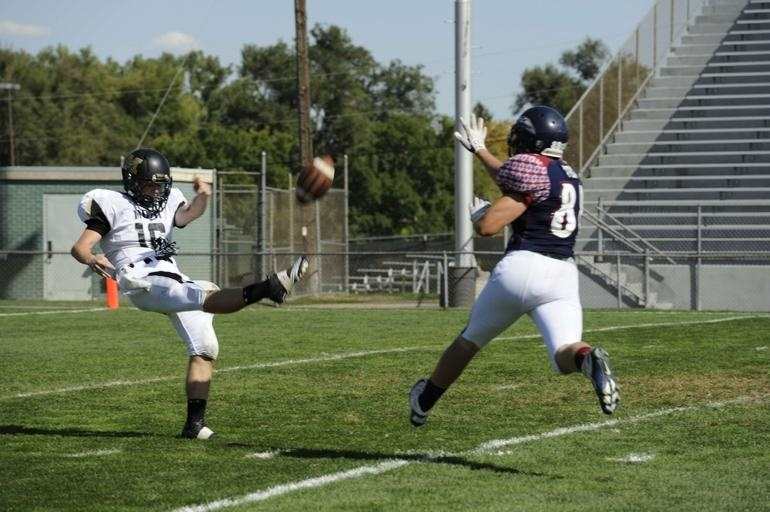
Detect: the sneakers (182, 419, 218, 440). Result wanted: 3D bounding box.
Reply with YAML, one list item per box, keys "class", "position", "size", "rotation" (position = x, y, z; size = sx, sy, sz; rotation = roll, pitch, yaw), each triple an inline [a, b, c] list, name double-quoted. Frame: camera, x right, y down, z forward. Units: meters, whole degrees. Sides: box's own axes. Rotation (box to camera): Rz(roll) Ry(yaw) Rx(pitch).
- class: "sneakers"
  position: [-2.815, 2.641, 18.616]
  size: [0.537, 0.198, 0.244]
  rotation: [-2, 0, 25]

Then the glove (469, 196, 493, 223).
- class: "glove"
  position: [1.400, -0.697, 18.000]
  size: [0.380, 0.349, 0.146]
  rotation: [17, -18, 38]
